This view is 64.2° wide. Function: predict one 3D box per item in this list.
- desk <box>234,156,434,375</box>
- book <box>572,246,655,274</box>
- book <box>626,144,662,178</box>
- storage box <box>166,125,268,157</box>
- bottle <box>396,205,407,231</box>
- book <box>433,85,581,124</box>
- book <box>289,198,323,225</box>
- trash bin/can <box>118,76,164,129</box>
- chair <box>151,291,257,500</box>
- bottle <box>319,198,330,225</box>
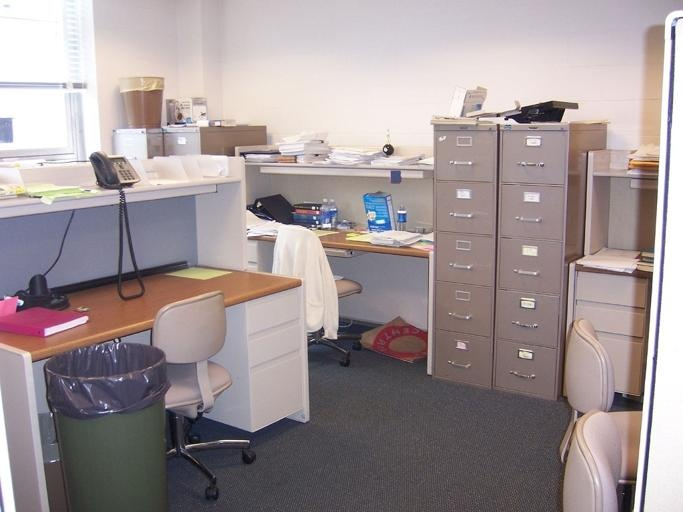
[{"bbox_3d":[-0.168,0.054,5.145,1.464,1.423,0.496,19,13,3],"label":"desk"},{"bbox_3d":[1.800,-0.005,3.573,0.421,0.108,0.572,8,15,29],"label":"book"},{"bbox_3d":[1.903,-0.603,3.434,0.160,0.171,0.324,6,14,26],"label":"book"},{"bbox_3d":[-1.134,-0.959,4.927,0.761,0.416,0.546,0,8,9],"label":"storage box"},{"bbox_3d":[0.500,-0.316,4.537,0.096,0.200,0.173,2,13,7],"label":"bottle"},{"bbox_3d":[1.127,-1.000,3.629,0.995,0.234,0.669,0,13,1],"label":"book"},{"bbox_3d":[-0.301,-0.399,4.848,0.214,0.134,0.218,4,11,23],"label":"book"},{"bbox_3d":[-1.737,-1.319,4.887,0.445,0.470,0.449,8,11,42],"label":"trash bin/can"},{"bbox_3d":[-0.666,0.633,2.698,0.451,0.973,0.482,-3,13,-13],"label":"chair"},{"bbox_3d":[-0.142,-0.377,4.744,0.084,0.205,0.134,-3,13,-11],"label":"bottle"}]
